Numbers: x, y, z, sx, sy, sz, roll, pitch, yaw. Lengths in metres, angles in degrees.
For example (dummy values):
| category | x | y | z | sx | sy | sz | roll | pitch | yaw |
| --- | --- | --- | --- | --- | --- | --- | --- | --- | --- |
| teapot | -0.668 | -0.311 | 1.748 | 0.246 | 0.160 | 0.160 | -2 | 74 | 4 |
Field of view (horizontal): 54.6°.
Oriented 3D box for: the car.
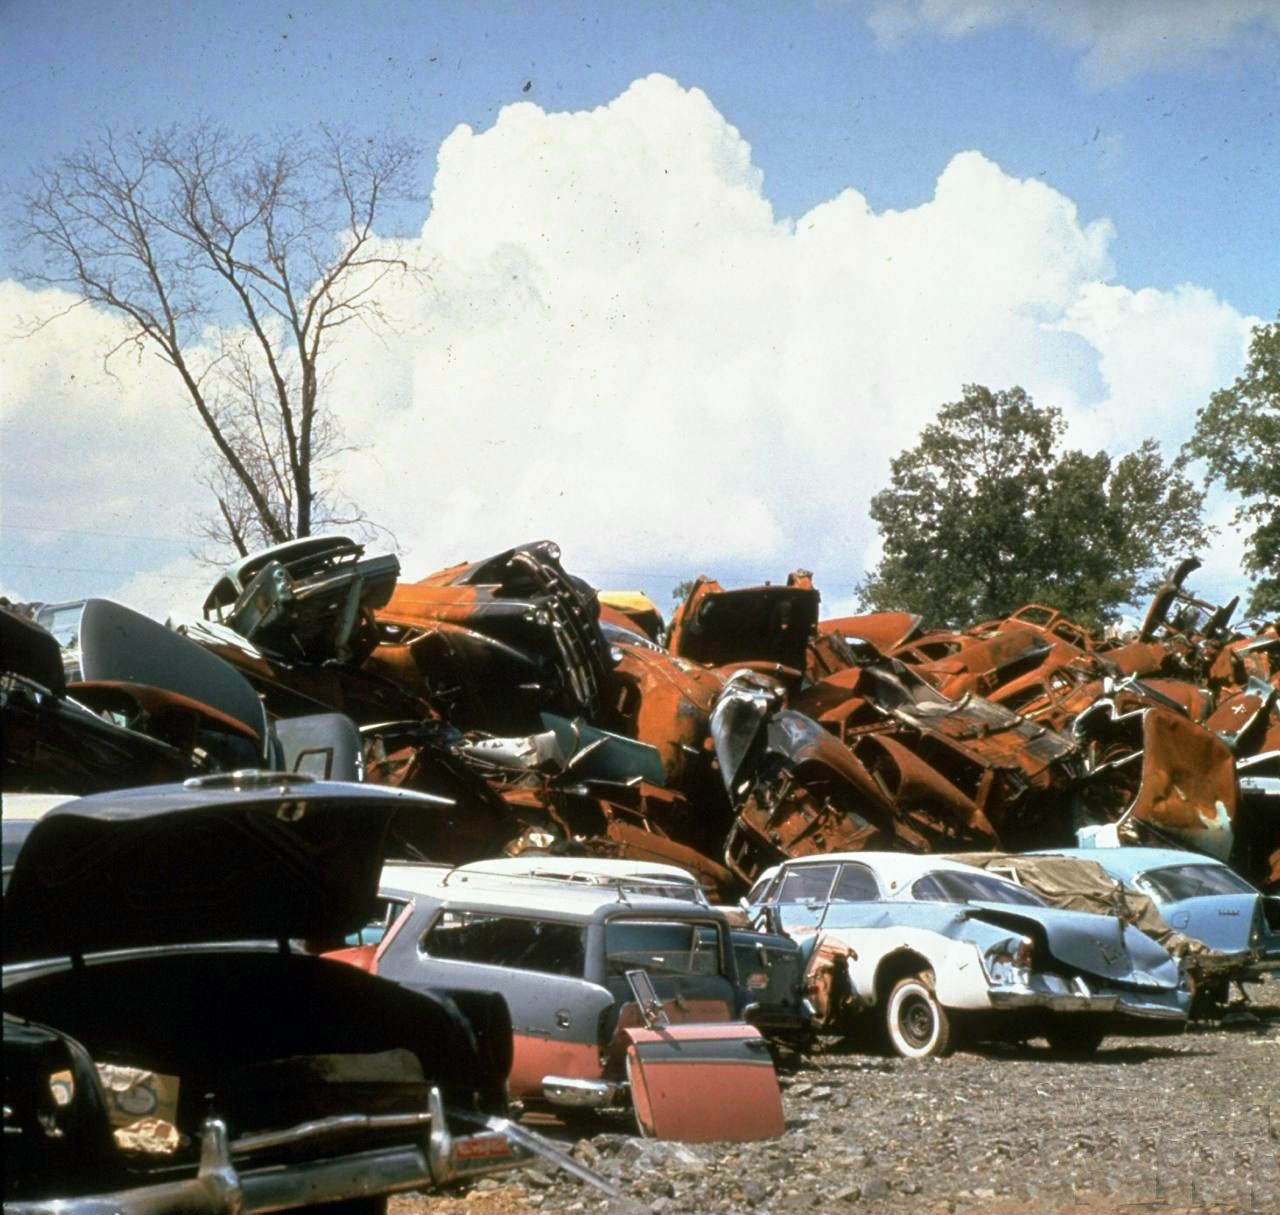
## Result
| category | x | y | z | sx | sy | sz | roll | pitch | yaw |
| --- | --- | --- | --- | --- | --- | --- | --- | --- | --- |
| car | 2.312 | 2.423 | 9.341 | 1.685 | 0.773 | 3.046 | 5 | -1 | -42 |
